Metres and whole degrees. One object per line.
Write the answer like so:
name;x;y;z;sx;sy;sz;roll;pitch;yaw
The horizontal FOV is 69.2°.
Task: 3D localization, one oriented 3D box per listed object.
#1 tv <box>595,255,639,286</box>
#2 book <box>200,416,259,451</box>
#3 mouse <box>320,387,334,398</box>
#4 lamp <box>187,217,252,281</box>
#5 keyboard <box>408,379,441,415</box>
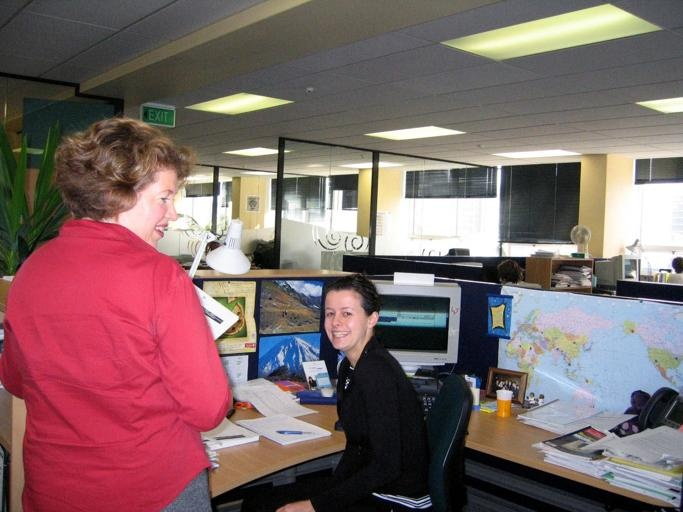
tv;3.593;0.195;6.501;0.449;0.399;0.428;0;3;-13
book;-0.470;0.756;2.057;0.254;0.033;0.224;7;7;42
mouse;-0.075;0.722;2.622;0.031;0.053;0.033;-2;4;-37
lamp;-0.530;-0.019;2.258;0.313;0.313;0.204;6;25;-12
keyboard;0.474;0.715;2.587;0.126;0.148;0.176;-19;-9;40
